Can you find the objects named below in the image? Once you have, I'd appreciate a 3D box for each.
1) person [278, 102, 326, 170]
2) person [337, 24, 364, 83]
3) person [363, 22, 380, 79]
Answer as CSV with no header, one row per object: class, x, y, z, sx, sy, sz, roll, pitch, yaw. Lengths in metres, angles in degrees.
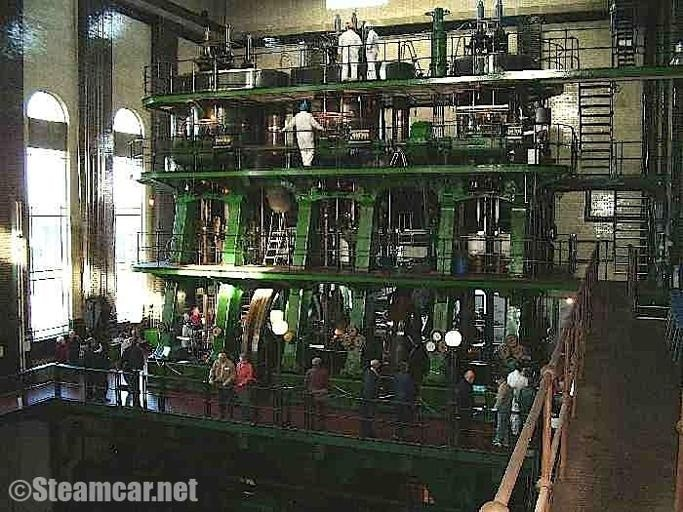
person,-1.264,-4.182,27.973,1.482,2.230,1.052,2,2,11
person,0.283,-7.007,27.998,0.834,1.906,0.762,1,2,7
person,1.086,-7.135,28.300,0.469,2.056,1.062,1,2,1
